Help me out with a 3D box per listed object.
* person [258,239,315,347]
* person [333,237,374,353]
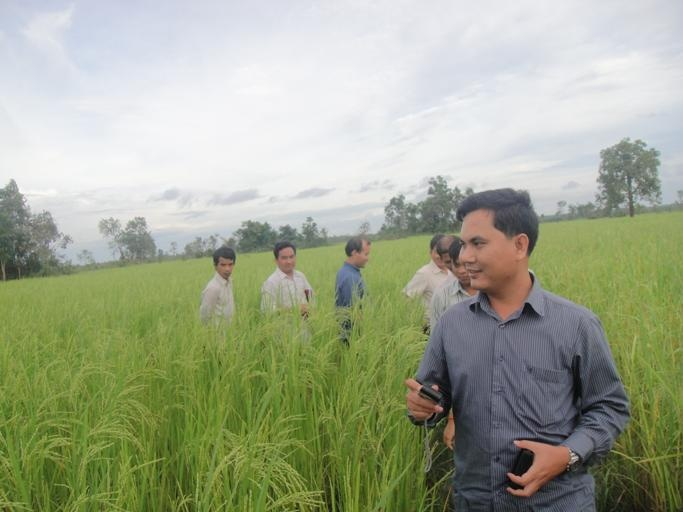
[{"bbox_3d":[-0.729,0.390,5.959,0.696,1.310,2.246,-9,0,-4],"label":"person"},{"bbox_3d":[0.138,0.283,5.908,0.575,1.253,1.708,-8,1,2],"label":"person"}]
